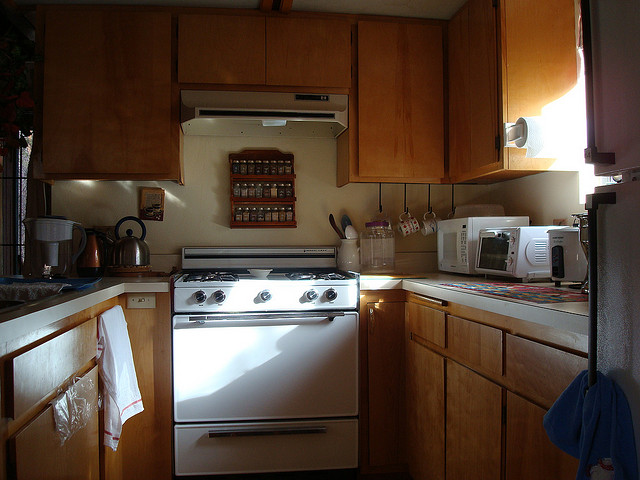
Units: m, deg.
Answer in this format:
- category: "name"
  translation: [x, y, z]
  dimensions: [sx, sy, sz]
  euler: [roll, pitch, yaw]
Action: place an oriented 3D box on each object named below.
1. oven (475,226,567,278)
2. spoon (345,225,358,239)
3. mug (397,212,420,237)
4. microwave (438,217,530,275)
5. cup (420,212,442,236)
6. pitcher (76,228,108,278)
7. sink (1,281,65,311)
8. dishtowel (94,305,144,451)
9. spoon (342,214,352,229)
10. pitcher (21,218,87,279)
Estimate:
- category: "oven"
  translation: [0.995, 0.082, 2.564]
  dimensions: [0.271, 0.270, 0.402]
  euler: [-1, 1, -12]
- category: "spoon"
  translation: [0.192, -0.049, 3.043]
  dimensions: [0.090, 0.081, 0.066]
  euler: [-3, 2, -15]
- category: "mug"
  translation: [0.538, -0.101, 3.100]
  dimensions: [0.092, 0.131, 0.066]
  euler: [-17, -23, -15]
- category: "microwave"
  translation: [0.912, 0.036, 2.913]
  dimensions: [0.337, 0.318, 0.486]
  euler: [-1, 0, -10]
- category: "cup"
  translation: [0.682, -0.104, 3.090]
  dimensions: [0.107, 0.120, 0.064]
  euler: [-12, -3, -40]
- category: "pitcher"
  translation: [-1.254, 0.081, 2.782]
  dimensions: [0.128, 0.319, 0.163]
  euler: [1, 7, -7]
- category: "sink"
  translation: [-1.110, 0.195, 1.918]
  dimensions: [0.213, 0.096, 0.538]
  euler: [-4, 2, -28]
- category: "dishtowel"
  translation: [-0.913, 0.598, 2.292]
  dimensions: [0.213, 0.619, 0.171]
  euler: [-1, -2, 41]
- category: "spoon"
  translation: [0.158, -0.118, 3.088]
  dimensions: [0.037, 0.073, 0.018]
  euler: [-10, 8, 0]
- category: "pitcher"
  translation: [-1.292, 0.036, 2.395]
  dimensions: [0.121, 0.281, 0.203]
  euler: [-1, 2, 37]
